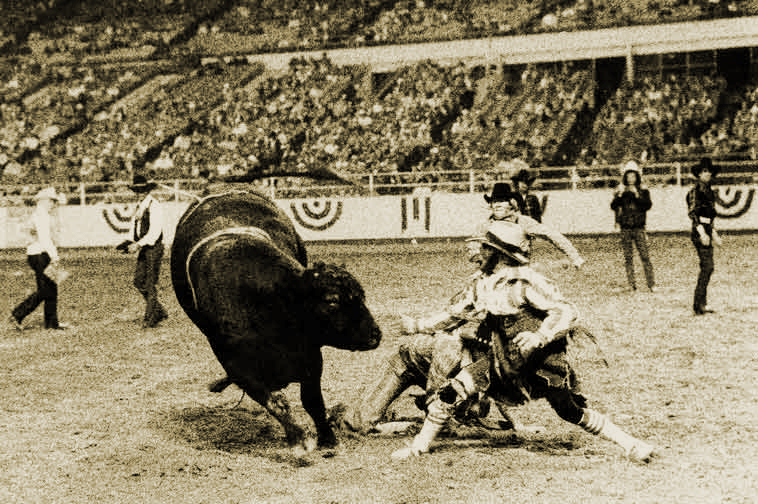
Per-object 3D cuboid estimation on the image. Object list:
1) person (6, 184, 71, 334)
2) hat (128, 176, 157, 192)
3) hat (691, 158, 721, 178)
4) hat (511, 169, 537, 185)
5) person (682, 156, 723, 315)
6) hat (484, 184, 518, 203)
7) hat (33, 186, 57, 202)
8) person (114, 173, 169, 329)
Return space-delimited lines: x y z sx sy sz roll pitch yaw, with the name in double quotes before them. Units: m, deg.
"person" -3.533 0.095 12.258 0.594 1.477 0.372 -9 11 -14
"hat" -2.493 -0.726 12.546 0.228 0.093 0.205 -2 -5 -36
"hat" 3.278 -0.846 11.912 0.193 0.088 0.222 5 -25 13
"hat" 1.514 -0.784 12.298 0.169 0.100 0.306 4 1 0
"person" 3.239 -0.163 11.880 0.281 1.532 0.420 -4 11 14
"hat" 1.093 -0.528 10.318 0.187 0.091 0.227 -1 -12 24
"hat" -3.442 -0.576 12.234 0.191 0.051 0.205 -3 19 -5
"person" -2.429 0.015 12.379 0.479 1.451 0.549 -8 11 -11
